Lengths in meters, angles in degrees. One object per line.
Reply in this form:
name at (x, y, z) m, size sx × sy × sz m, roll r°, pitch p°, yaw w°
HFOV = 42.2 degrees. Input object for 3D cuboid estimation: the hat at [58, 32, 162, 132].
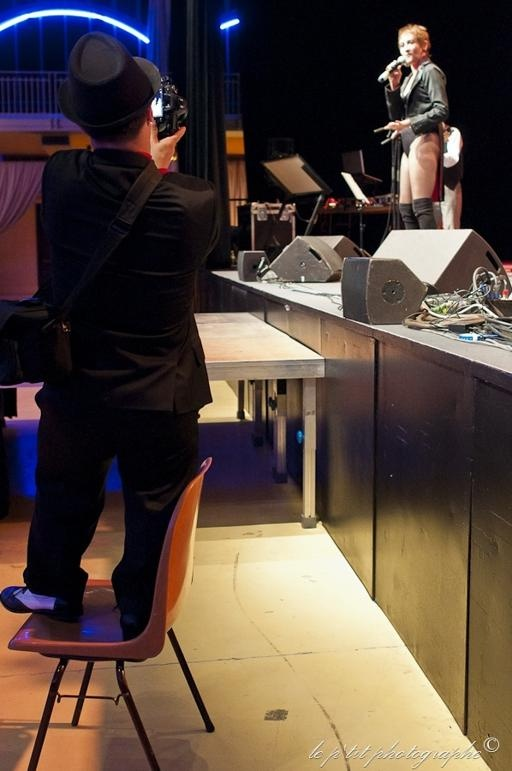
hat at (-0.249, -0.519, 1.114) m, size 0.173 × 0.234 × 0.089 m, roll -2°, pitch -30°, yaw 3°

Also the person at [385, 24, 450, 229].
person at (0.780, -1.225, 3.479) m, size 0.340 × 1.214 × 0.310 m, roll -3°, pitch 12°, yaw -2°

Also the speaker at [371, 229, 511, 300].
speaker at (0.733, -0.531, 2.734) m, size 0.474 × 0.262 × 0.476 m, roll -4°, pitch 22°, yaw -14°

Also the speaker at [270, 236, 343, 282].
speaker at (0.288, -0.737, 3.947) m, size 0.294 × 0.208 × 0.350 m, roll 0°, pitch 14°, yaw 5°

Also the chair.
chair at (-0.257, 0.434, 1.271) m, size 0.348 × 0.625 × 0.457 m, roll -1°, pitch 8°, yaw -5°
